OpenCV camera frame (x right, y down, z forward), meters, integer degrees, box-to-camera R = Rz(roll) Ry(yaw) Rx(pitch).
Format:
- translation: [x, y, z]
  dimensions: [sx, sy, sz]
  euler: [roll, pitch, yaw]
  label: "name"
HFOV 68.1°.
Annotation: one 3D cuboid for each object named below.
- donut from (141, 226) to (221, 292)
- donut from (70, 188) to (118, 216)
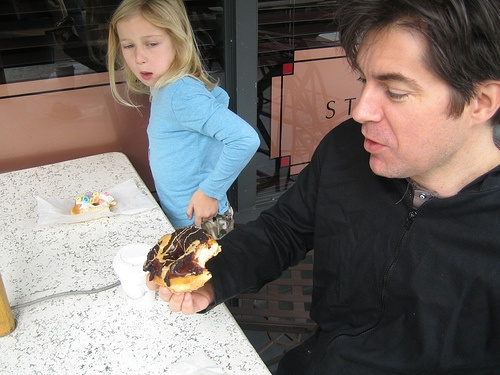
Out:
- translation: [-0.175, 0.188, 0.946]
  dimensions: [0.167, 0.130, 0.155]
  euler: [24, 35, 39]
  label: "donut"
- translation: [-0.603, 0.053, 1.396]
  dimensions: [0.132, 0.044, 0.089]
  euler: [-2, 18, -23]
  label: "donut"
